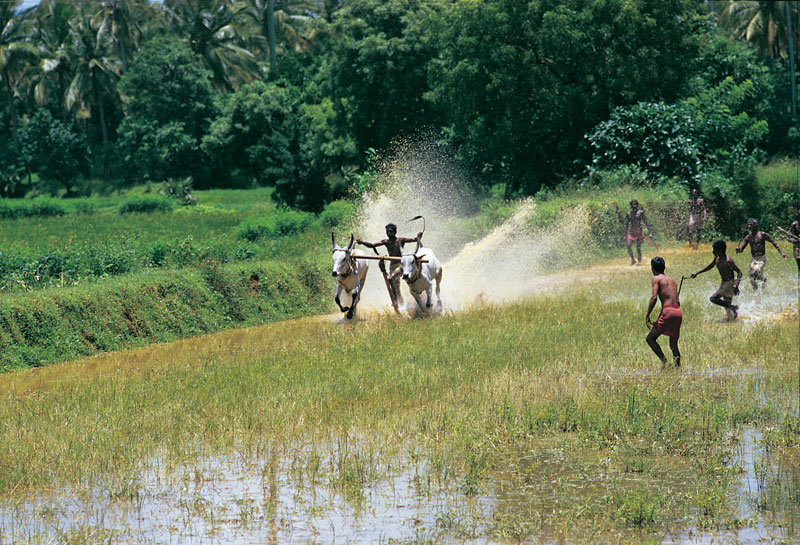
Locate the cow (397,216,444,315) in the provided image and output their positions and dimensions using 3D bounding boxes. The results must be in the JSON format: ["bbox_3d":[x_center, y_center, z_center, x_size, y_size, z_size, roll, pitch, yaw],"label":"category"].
[{"bbox_3d":[0.768,0.059,53.129,1.180,3.153,2.575,-5,9,12],"label":"cow"}]
